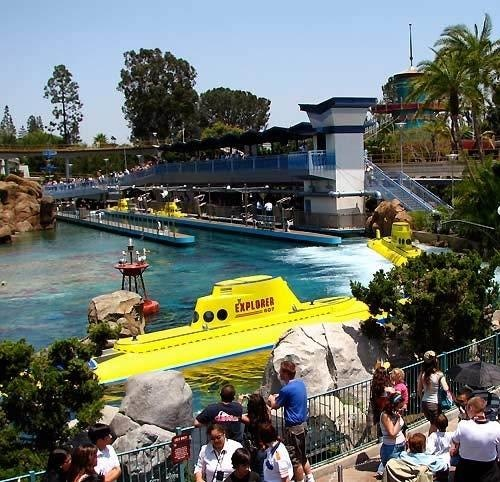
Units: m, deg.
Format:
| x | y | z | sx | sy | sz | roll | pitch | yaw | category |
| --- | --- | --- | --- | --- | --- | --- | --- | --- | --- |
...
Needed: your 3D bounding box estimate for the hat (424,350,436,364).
| x | y | z | sx | sy | sz | roll | pitch | yaw | category |
| --- | --- | --- | --- | --- | --- | --- | --- | --- | --- |
| 2.656 | 1.675 | 7.537 | 0.147 | 0.182 | 0.302 | 0 | 9 | 21 | hat |
